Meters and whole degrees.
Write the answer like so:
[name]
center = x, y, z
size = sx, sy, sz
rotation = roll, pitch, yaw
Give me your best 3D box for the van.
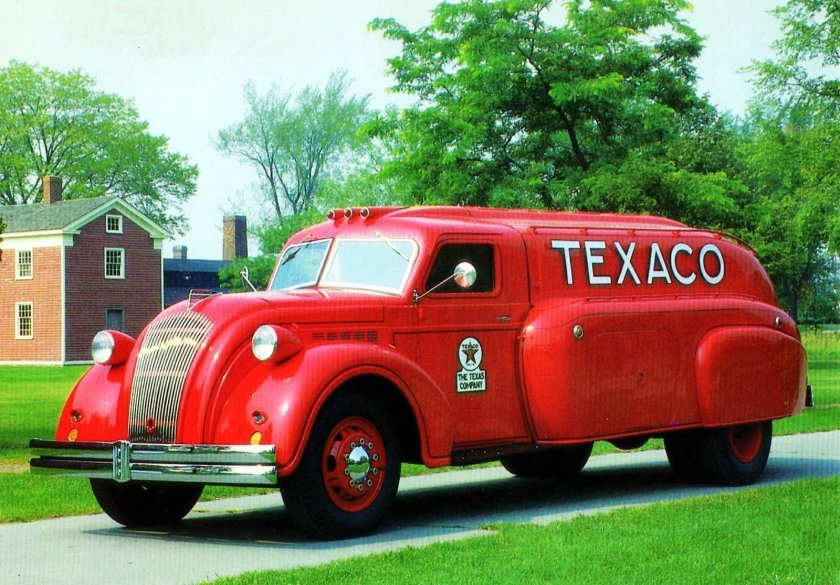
[van]
center = 0.835, 0.565, 11.005
size = 9.087, 3.160, 3.744
rotation = 3, -8, -36
